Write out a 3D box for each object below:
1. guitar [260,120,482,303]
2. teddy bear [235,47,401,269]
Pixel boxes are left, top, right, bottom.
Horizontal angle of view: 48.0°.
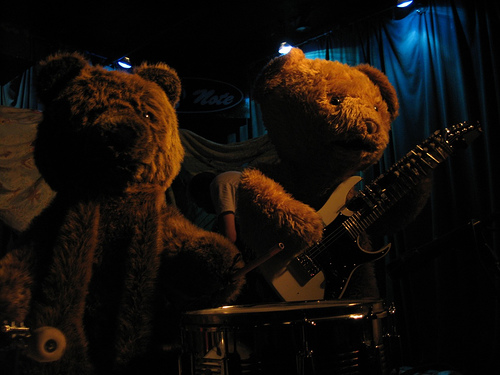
[{"bbox_3d":[0.681,0.149,3.150,0.433,1.117,0.159,47,-2,9],"label":"guitar"},{"bbox_3d":[0.428,-0.113,3.467,0.996,1.365,0.966,11,-7,-24],"label":"teddy bear"}]
